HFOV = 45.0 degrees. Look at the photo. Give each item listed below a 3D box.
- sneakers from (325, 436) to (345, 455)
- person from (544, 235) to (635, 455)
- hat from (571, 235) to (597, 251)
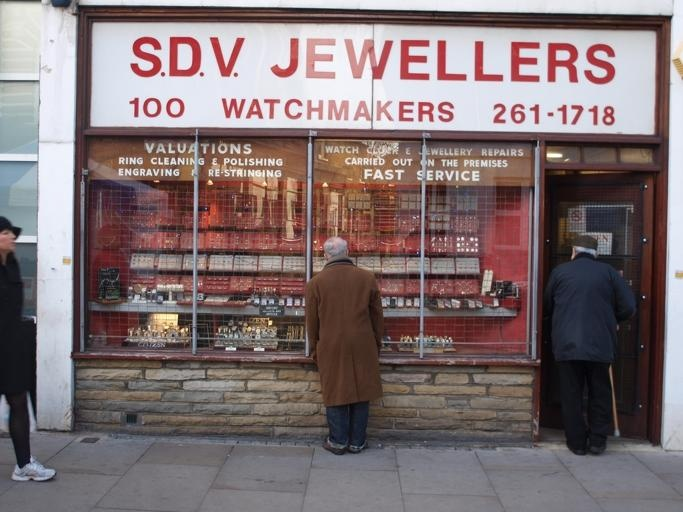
[{"bbox_3d":[-0.067,1.996,8.631,0.102,0.117,0.251,-1,7,-33],"label":"sneakers"},{"bbox_3d":[2.601,0.944,8.704,0.891,2.307,0.300,1,0,12],"label":"person"},{"bbox_3d":[2.609,-0.147,8.878,0.155,0.110,0.206,5,9,-23],"label":"hat"}]
